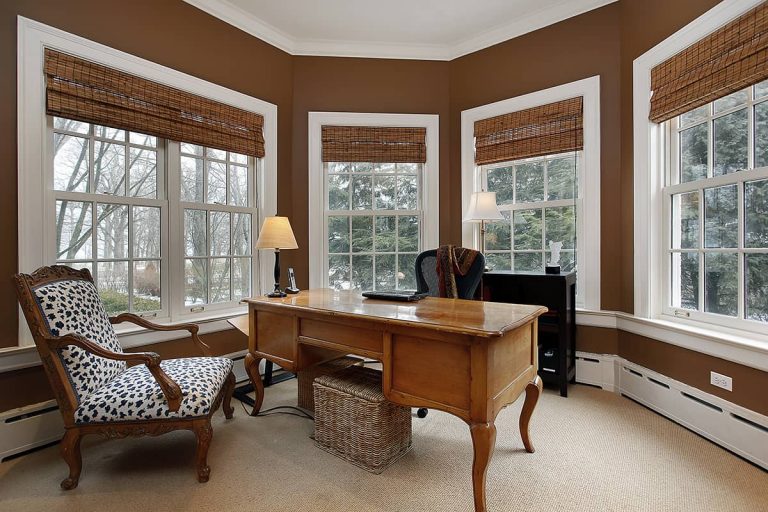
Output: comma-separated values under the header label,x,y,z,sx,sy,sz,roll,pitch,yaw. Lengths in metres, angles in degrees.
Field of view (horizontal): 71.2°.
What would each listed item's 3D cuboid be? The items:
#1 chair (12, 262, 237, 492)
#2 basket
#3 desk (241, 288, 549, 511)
label,x,y,z,sx,sy,sz,roll,pitch,yaw
chair,-2.122,0.903,4.711,1.408,1.724,1.287,-1,5,-2
basket,-0.144,1.351,4.609,0.820,0.631,0.686,-1,-2,37
desk,0.022,1.110,4.651,2.507,1.569,1.070,-1,2,32
